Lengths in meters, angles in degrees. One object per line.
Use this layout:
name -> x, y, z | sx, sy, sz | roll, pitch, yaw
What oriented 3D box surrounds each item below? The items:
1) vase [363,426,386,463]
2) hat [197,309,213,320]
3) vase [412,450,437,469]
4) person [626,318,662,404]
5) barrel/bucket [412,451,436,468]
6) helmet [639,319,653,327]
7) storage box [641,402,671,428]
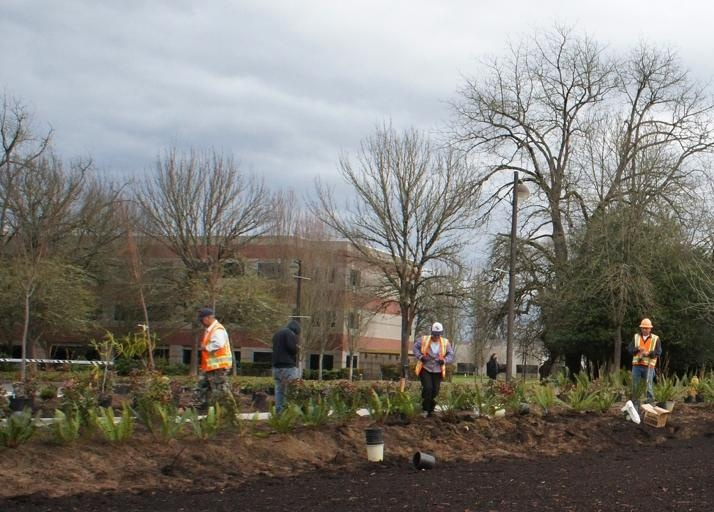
vase -> 0.410, 4.458, 24.763 | 0.429, 0.770, 0.543 | 2, -8, 0
hat -> -3.922, 1.482, 26.762 | 0.323, 0.189, 0.259 | 6, 7, 18
vase -> 1.519, 4.727, 24.267 | 0.416, 0.433, 0.374 | 12, -13, -12
person -> 8.294, 3.034, 30.163 | 0.806, 2.403, 0.907 | 0, -8, 16
barrel/bucket -> 1.581, 4.717, 24.167 | 0.558, 0.383, 0.375 | 10, -5, -28
helmet -> 8.345, 1.934, 30.191 | 0.444, 0.324, 0.622 | 3, -5, 12
storage box -> 7.885, 4.231, 27.836 | 0.456, 0.480, 0.681 | 1, -1, -28
